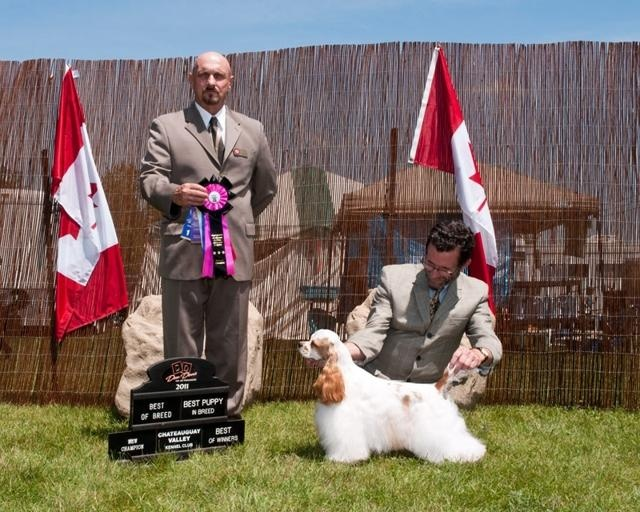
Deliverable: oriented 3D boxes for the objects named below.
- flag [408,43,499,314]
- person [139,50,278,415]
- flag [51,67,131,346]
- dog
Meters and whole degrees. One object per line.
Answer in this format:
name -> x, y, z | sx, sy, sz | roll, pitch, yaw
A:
flag -> 1.309, -0.725, 9.677 | 0.665, 3.079, 0.290 | 4, -28, -9
person -> -0.919, -0.168, 8.006 | 1.039, 2.956, 0.616 | 0, 1, -7
flag -> -2.435, -0.621, 10.235 | 0.577, 3.244, 0.295 | 0, -32, -19
dog -> 0.578, 1.261, 7.893 | 1.269, 1.235, 0.966 | -1, -25, 3
